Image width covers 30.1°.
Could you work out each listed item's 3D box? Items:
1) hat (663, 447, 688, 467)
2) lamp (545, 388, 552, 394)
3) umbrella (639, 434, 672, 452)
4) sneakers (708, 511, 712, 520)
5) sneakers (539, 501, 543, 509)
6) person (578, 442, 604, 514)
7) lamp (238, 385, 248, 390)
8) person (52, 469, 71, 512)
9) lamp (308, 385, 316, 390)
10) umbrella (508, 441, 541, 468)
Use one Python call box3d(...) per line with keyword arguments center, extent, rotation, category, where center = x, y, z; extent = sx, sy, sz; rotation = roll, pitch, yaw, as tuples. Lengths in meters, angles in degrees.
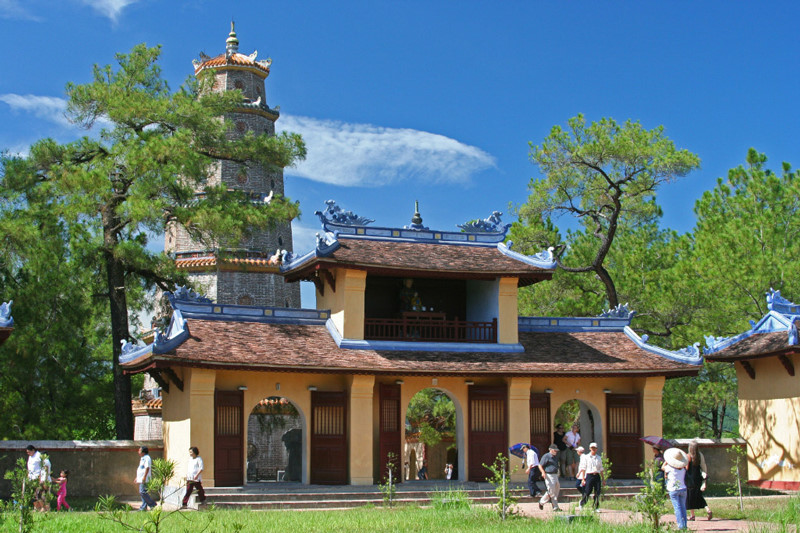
box3d(center=(8.223, 5.666, 44.309), extent=(0.710, 0.637, 0.581), rotation=(1, -13, -5), category="hat")
box3d(center=(5.406, 4.489, 53.721), extent=(0.310, 0.208, 0.078), rotation=(8, -15, -32), category="lamp")
box3d(center=(8.344, 5.694, 48.281), extent=(0.797, 0.270, 0.816), rotation=(13, -7, 12), category="umbrella")
box3d(center=(9.622, 7.698, 46.103), extent=(0.133, 0.252, 0.060), rotation=(3, -9, 7), category="sneakers")
box3d(center=(4.552, 7.659, 47.747), extent=(0.164, 0.194, 0.168), rotation=(-1, 0, 6), category="sneakers")
box3d(center=(6.205, 6.817, 48.242), extent=(0.742, 2.131, 1.502), rotation=(-2, -13, 7), category="person")
box3d(center=(-5.419, 4.152, 51.293), extent=(0.318, 0.143, 0.131), rotation=(8, -15, -33), category="lamp")
box3d(center=(-11.207, 7.447, 49.473), extent=(0.502, 1.482, 3.124), rotation=(2, -13, -12), category="person")
box3d(center=(-3.052, 4.233, 52.090), extent=(0.174, 0.171, 0.065), rotation=(0, 11, -9), category="lamp")
box3d(center=(4.248, 6.319, 50.060), extent=(0.991, 0.845, 0.780), rotation=(1, -6, -26), category="umbrella")
